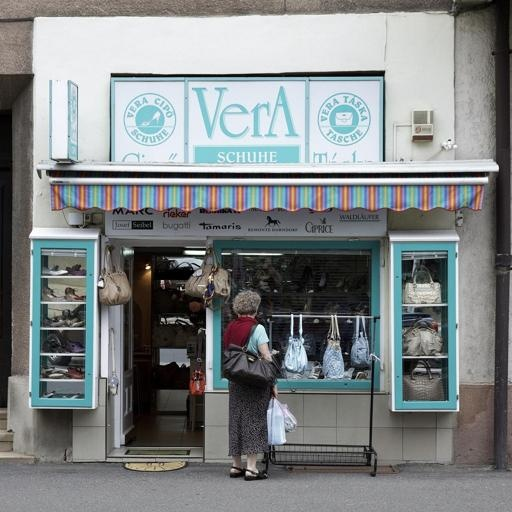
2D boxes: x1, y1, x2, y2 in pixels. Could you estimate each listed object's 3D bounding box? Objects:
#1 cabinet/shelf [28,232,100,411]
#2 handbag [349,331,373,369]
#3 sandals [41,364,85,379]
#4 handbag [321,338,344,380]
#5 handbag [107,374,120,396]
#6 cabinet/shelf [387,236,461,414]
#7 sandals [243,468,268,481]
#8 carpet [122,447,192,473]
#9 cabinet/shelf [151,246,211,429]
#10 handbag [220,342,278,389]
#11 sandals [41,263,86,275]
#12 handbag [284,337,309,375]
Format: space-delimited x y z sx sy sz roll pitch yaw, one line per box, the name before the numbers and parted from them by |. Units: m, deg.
cabinet/shelf | -2.158 0.720 13.141 0.783 1.888 0.579 -1 11 -5
handbag | 1.207 1.100 13.361 0.223 0.415 0.275 1 11 5
sandals | -2.181 1.324 13.180 0.472 0.141 0.113 -1 12 -6
handbag | 0.892 1.207 13.342 0.224 0.459 0.201 1 11 6
handbag | -1.643 1.488 13.526 0.128 0.152 0.230 1 6 -6
cabinet/shelf | 1.892 0.790 13.090 0.813 2.019 0.750 1 11 7
sandals | -0.002 2.346 12.462 0.213 0.092 0.117 -1 1 -41
carpet | -1.128 2.345 13.332 0.706 0.092 0.861 0 12 0
cabinet/shelf | -0.997 1.018 15.633 0.777 2.742 4.235 -1 12 -5
handbag | -0.071 1.165 12.245 0.449 0.448 0.184 20 -32 -1
sandals | -2.175 0.200 13.212 0.461 0.196 0.175 2 -7 -8
handbag | 0.445 1.140 13.214 0.259 0.349 0.294 -1 12 -3
